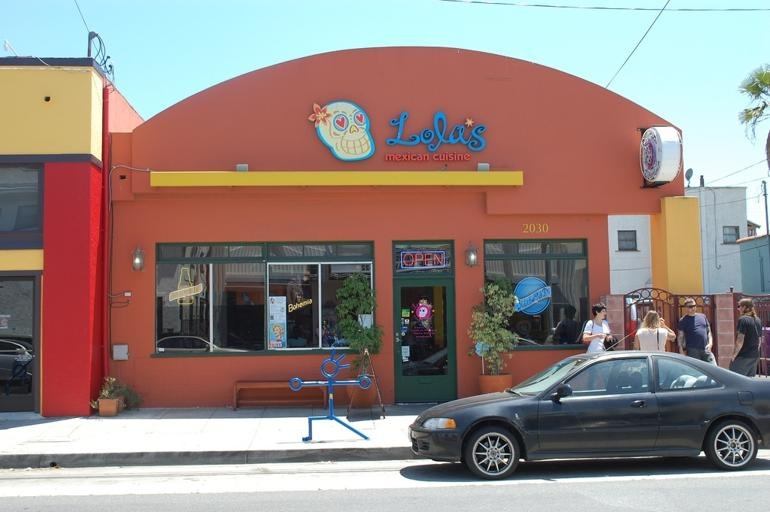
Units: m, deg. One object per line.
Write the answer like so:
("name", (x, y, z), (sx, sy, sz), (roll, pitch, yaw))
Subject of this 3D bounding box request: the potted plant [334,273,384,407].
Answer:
("potted plant", (-0.572, 1.955, 17.923), (1.060, 3.020, 1.218), (-2, 7, -8))

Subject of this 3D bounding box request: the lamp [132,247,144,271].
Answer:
("lamp", (-5.738, 0.056, 18.019), (0.275, 0.508, 0.233), (-5, 8, -27))

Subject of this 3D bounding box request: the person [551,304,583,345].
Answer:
("person", (4.317, 1.662, 18.531), (0.832, 1.133, 0.417), (8, 1, 2))

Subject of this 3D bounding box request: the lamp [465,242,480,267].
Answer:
("lamp", (2.063, -0.028, 18.417), (0.276, 0.554, 0.357), (3, 8, 27))

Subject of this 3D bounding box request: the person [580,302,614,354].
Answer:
("person", (4.690, 1.607, 17.079), (0.570, 1.186, 1.560), (1, 7, 17))

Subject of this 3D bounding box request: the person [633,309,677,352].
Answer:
("person", (5.575, 1.595, 16.170), (0.779, 0.881, 0.713), (3, 8, 32))

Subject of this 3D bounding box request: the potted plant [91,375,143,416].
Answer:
("potted plant", (-6.366, 3.160, 17.532), (0.594, 0.584, 0.721), (-20, -9, 23))
